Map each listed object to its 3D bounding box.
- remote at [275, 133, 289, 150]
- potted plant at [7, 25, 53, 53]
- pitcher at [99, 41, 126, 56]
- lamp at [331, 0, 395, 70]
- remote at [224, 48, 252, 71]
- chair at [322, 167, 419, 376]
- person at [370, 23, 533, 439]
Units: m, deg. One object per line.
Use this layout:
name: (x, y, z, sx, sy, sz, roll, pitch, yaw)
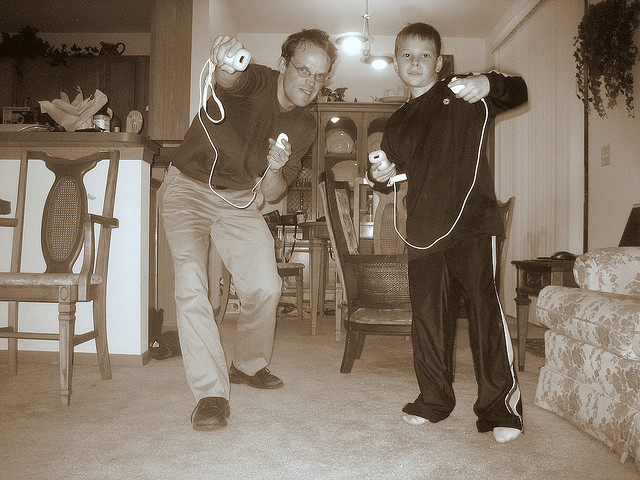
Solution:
remote: (-0.188, -0.488, 2.684, 0.056, 0.095, 0.140, 1, 3, 1)
potted plant: (-3.505, -2.390, 6.606, 0.323, 0.388, 0.433, 6, 1, -12)
pitcher: (-2.543, -2.353, 6.730, 0.279, 0.147, 0.201, 3, 16, 1)
lamp: (0.473, -2.145, 5.578, 0.536, 0.699, 1.217, 1, 3, 8)
remote: (-0.362, -0.785, 2.373, 0.073, 0.086, 0.140, 19, 10, -23)
chair: (0.225, 0.265, 3.468, 0.768, 1.099, 0.835, -8, -12, 29)
person: (0.582, -0.063, 2.532, 0.684, 1.847, 0.319, 1, 3, 14)
